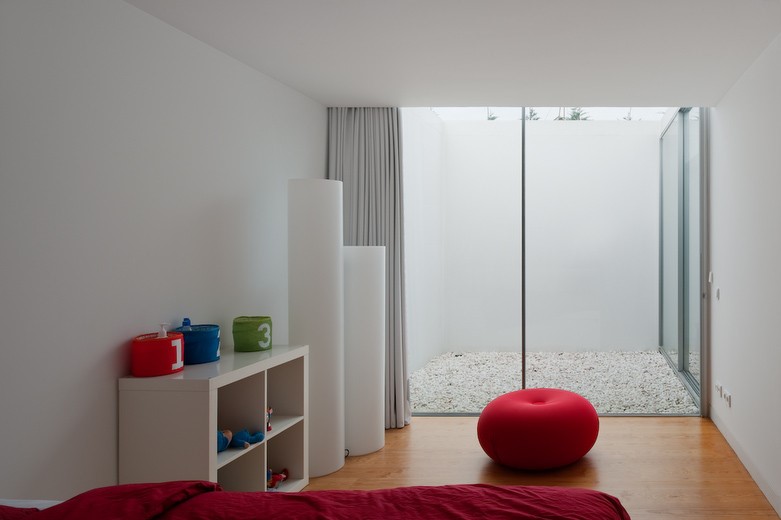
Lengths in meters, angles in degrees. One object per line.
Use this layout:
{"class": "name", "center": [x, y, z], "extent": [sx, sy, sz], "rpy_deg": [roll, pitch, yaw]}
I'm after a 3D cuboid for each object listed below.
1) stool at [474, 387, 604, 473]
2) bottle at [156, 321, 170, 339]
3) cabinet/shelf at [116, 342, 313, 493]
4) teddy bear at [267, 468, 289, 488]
{"class": "stool", "center": [1.172, 1.370, 4.580], "extent": [0.937, 0.528, 0.551], "rpy_deg": [2, 7, 5]}
{"class": "bottle", "center": [-1.438, 0.452, 3.605], "extent": [0.078, 0.121, 0.122], "rpy_deg": [2, -3, 1]}
{"class": "cabinet/shelf", "center": [-1.133, 0.989, 3.594], "extent": [0.379, 0.769, 1.171], "rpy_deg": [-1, 2, 6]}
{"class": "teddy bear", "center": [-0.802, 1.555, 4.072], "extent": [0.066, 0.059, 0.171], "rpy_deg": [10, -1, 13]}
